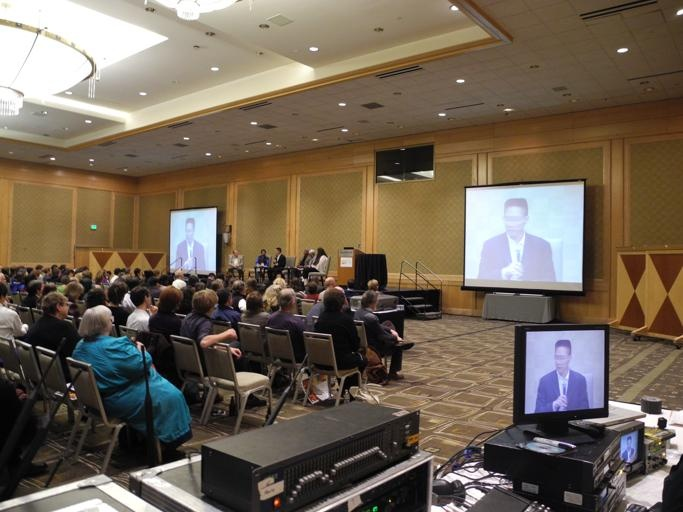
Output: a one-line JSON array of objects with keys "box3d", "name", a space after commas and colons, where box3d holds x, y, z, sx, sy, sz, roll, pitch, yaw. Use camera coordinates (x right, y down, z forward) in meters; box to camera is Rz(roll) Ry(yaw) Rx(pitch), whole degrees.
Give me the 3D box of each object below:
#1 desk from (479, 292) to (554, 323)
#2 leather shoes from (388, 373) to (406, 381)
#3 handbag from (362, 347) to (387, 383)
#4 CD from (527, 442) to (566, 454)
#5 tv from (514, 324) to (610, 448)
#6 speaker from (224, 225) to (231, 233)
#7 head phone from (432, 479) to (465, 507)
[{"box3d": [4.511, 1.327, 12.434, 1.612, 0.732, 0.606, 0, 0, 44], "name": "desk"}, {"box3d": [0.769, 1.644, 6.654, 0.272, 0.095, 0.085, 0, -2, -36], "name": "leather shoes"}, {"box3d": [0.455, 1.438, 6.431, 0.377, 0.415, 0.164, 4, -1, 2], "name": "handbag"}, {"box3d": [1.084, 1.019, 2.578, 0.184, 0.029, 0.093, 0, 0, 36], "name": "CD"}, {"box3d": [1.225, 0.727, 2.723, 0.785, 0.642, 0.252, 1, -5, -21], "name": "tv"}, {"box3d": [-4.551, -1.050, 19.322, 0.431, 0.298, 0.157, 0, 0, 44], "name": "speaker"}, {"box3d": [0.620, 1.353, 2.794, 0.246, 0.109, 0.124, 13, -26, -41], "name": "head phone"}]
